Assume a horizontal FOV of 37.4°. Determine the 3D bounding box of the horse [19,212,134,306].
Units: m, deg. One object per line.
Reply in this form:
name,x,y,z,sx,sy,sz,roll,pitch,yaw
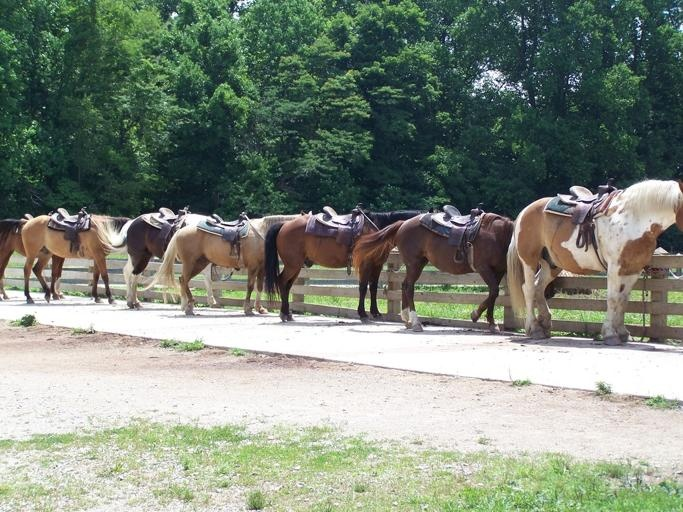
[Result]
horse,-8.201,0.001,31.699,4.031,2.959,0.970,2,3,5
